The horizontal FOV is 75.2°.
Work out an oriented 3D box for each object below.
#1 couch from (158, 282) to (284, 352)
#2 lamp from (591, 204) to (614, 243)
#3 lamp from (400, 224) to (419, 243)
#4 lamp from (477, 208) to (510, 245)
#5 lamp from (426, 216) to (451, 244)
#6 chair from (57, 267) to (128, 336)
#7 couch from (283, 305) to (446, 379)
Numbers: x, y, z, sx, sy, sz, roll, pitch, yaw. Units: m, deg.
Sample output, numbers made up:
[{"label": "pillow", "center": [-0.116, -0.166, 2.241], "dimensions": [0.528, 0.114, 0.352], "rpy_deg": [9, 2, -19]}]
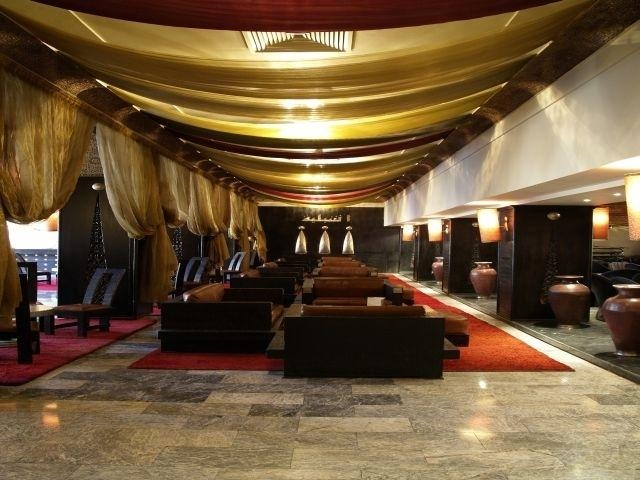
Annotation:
[{"label": "couch", "center": [-1.306, 1.093, 6.352], "dimensions": [1.679, 0.541, 1.784], "rpy_deg": [2, 4, 4]}, {"label": "lamp", "center": [5.310, -0.317, 7.844], "dimensions": [0.215, 0.579, 0.402], "rpy_deg": [3, 4, 39]}, {"label": "lamp", "center": [3.675, -0.299, 17.056], "dimensions": [0.758, 0.609, 0.721], "rpy_deg": [2, 3, 34]}, {"label": "lamp", "center": [3.305, -0.292, 7.881], "dimensions": [0.501, 0.629, 0.447], "rpy_deg": [1, 3, 1]}, {"label": "lamp", "center": [3.415, -0.294, 11.883], "dimensions": [0.537, 0.652, 1.407], "rpy_deg": [1, 2, 12]}, {"label": "chair", "center": [-3.839, 0.999, 6.807], "dimensions": [0.816, 0.735, 0.994], "rpy_deg": [5, 7, 9]}, {"label": "couch", "center": [0.992, 1.357, 5.163], "dimensions": [2.043, 0.633, 1.411], "rpy_deg": [-12, -19, 33]}]
